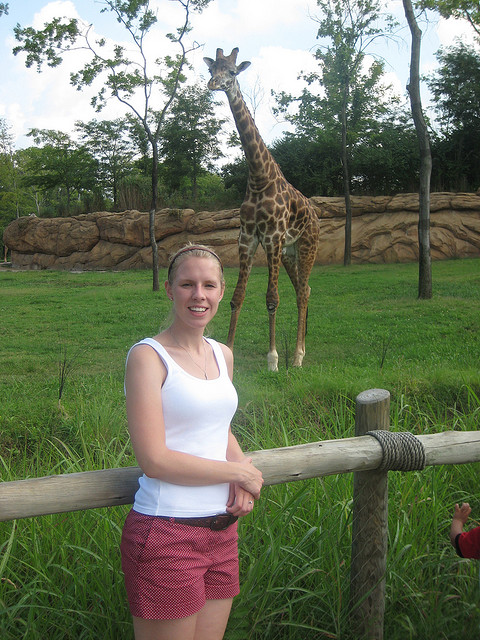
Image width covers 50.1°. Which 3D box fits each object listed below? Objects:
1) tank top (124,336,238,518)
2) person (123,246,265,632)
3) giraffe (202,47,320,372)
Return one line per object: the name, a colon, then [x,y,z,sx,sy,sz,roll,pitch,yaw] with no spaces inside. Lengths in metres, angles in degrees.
tank top: [-0.124,0.287,1.530,0.288,0.485,0.438,3,6,31]
person: [-0.124,0.338,1.512,0.383,1.118,0.510,0,5,4]
giraffe: [0.381,-1.498,7.374,0.927,4.174,2.049,3,6,30]
